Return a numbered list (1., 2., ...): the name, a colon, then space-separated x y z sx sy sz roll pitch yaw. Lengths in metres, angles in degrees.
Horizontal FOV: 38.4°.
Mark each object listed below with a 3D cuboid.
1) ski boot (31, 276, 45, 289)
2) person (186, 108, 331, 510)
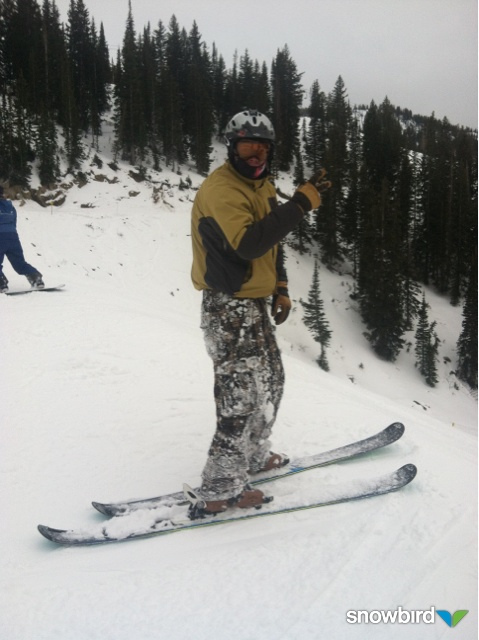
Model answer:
1. ski boot: -3.230 -0.596 11.000 0.185 0.184 0.115 -2 12 -16
2. person: 0.064 -0.031 5.100 0.850 2.962 0.655 0 12 -4
